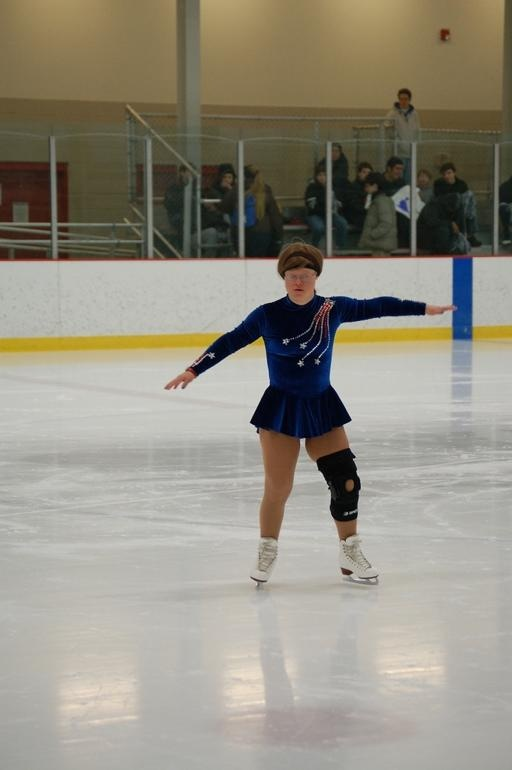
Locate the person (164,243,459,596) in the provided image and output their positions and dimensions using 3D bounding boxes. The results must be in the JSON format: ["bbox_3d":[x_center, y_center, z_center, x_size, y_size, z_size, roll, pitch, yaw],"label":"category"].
[{"bbox_3d":[0.125,0.075,2.371,0.664,0.912,0.227,0,6,-7],"label":"person"}]
